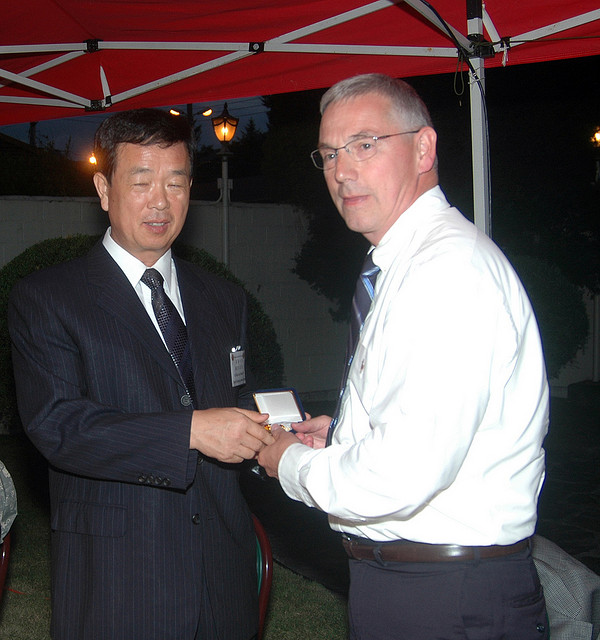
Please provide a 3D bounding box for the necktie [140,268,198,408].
[{"bbox_3d":[-0.443,0.026,1.874,0.106,0.593,0.071,-11,-27,-19],"label":"necktie"}]

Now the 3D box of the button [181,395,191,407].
[{"bbox_3d":[-0.349,0.246,1.753,0.026,0.033,0.011,0,7,-13],"label":"button"}]

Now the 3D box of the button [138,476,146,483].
[{"bbox_3d":[-0.444,0.446,1.612,0.020,0.017,0.006,0,7,-16],"label":"button"}]

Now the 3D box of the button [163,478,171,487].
[{"bbox_3d":[-0.375,0.456,1.616,0.021,0.018,0.020,-1,-4,-2],"label":"button"}]

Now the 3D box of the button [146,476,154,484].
[{"bbox_3d":[-0.424,0.448,1.616,0.021,0.019,0.005,0,-14,-8],"label":"button"}]

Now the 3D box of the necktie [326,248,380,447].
[{"bbox_3d":[0.155,0.037,1.658,0.063,0.480,0.067,17,8,40],"label":"necktie"}]

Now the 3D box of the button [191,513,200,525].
[{"bbox_3d":[-0.307,0.580,1.681,0.025,0.027,0.008,1,-23,-17],"label":"button"}]

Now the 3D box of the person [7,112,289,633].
[{"bbox_3d":[-0.465,0.137,1.822,0.747,1.613,0.742,5,8,23],"label":"person"}]

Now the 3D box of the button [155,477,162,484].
[{"bbox_3d":[-0.399,0.450,1.617,0.019,0.018,0.004,1,-16,-9],"label":"button"}]

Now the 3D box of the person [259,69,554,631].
[{"bbox_3d":[0.290,0.062,1.443,0.603,1.437,0.627,-1,8,-23],"label":"person"}]
